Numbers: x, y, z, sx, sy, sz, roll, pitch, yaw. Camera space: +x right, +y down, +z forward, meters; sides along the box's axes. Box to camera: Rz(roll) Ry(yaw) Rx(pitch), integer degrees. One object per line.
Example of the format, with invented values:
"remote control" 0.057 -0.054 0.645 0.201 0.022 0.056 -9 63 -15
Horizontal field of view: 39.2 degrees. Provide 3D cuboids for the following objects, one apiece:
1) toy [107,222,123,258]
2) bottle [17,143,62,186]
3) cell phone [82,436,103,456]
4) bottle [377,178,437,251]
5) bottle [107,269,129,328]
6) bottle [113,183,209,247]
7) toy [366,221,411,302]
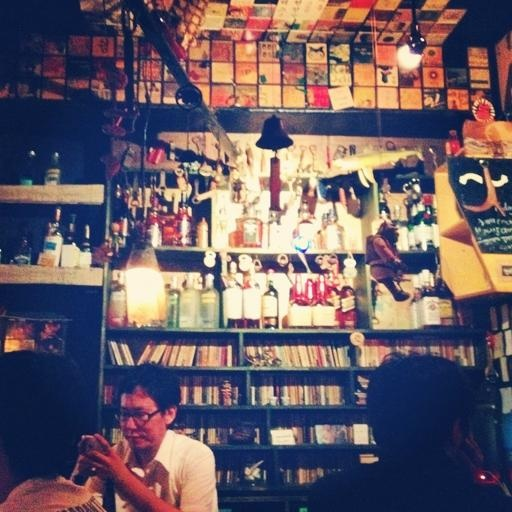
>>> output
"toy" -0.815 -0.097 4.222 0.083 0.207 0.144 -1 -1 -4
"bottle" -1.323 -0.546 4.377 0.246 0.275 0.104 1 -22 -6
"cell phone" -0.682 0.786 2.980 0.087 0.085 0.109 -1 -2 -14
"bottle" 0.946 -0.243 4.506 0.374 0.642 0.193 1 -16 -1
"bottle" -0.824 0.251 4.276 0.110 0.328 0.356 -1 -1 -11
"bottle" -0.576 -0.235 4.351 0.387 0.307 0.016 0 -20 -5
"toy" 0.780 0.038 4.281 0.242 0.472 0.302 -1 -1 14
